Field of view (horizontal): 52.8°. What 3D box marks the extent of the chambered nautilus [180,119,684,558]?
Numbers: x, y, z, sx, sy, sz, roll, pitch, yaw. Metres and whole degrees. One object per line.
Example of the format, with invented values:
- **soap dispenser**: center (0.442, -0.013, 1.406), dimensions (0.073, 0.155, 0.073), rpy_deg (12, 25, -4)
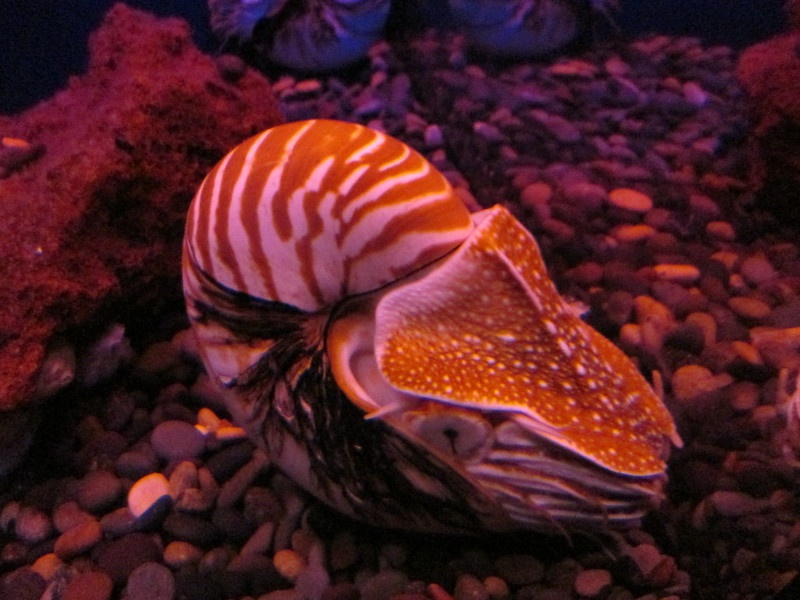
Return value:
- **chambered nautilus**: center (0.109, 0.033, 1.684), dimensions (0.942, 0.640, 0.684), rpy_deg (23, 34, 24)
